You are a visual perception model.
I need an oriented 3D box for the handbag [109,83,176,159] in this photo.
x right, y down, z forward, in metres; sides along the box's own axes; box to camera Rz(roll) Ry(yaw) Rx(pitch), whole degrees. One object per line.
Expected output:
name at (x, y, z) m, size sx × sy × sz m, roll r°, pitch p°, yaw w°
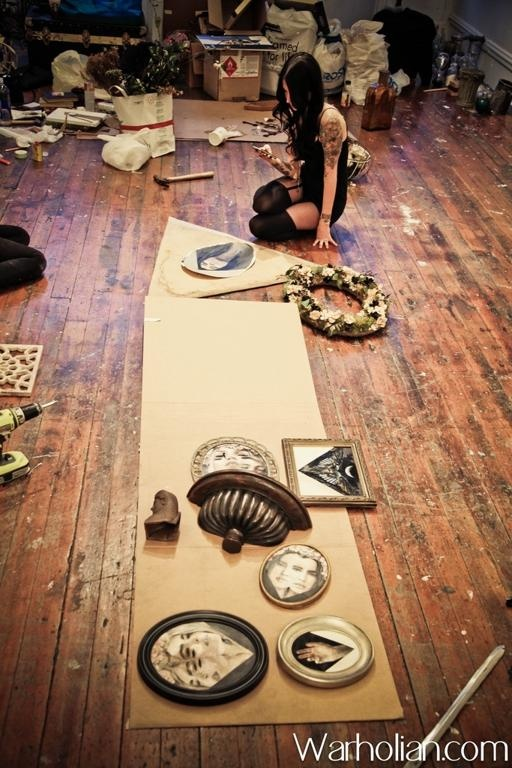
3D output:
handbag at (-0.862, -2.115, 3.890) m, size 0.515 × 0.679 × 0.524 m, roll -2°, pitch 67°, yaw -2°

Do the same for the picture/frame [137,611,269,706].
picture/frame at (-0.125, 0.630, 1.111) m, size 0.299 × 0.037 × 0.204 m, roll 5°, pitch 37°, yaw 1°

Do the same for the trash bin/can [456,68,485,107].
trash bin/can at (2.338, -3.261, 5.294) m, size 0.238 × 0.365 × 0.194 m, roll 14°, pitch 37°, yaw 14°

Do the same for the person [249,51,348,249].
person at (0.273, -1.347, 2.845) m, size 0.587 × 1.023 × 0.537 m, roll 7°, pitch 36°, yaw 6°

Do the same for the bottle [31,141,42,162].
bottle at (-1.735, -1.823, 3.766) m, size 0.064 × 0.180 × 0.117 m, roll -7°, pitch 64°, yaw -21°

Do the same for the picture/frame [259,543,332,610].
picture/frame at (0.107, 0.551, 1.352) m, size 0.198 × 0.047 × 0.213 m, roll -4°, pitch 28°, yaw 9°

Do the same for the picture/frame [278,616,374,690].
picture/frame at (0.166, 0.655, 1.158) m, size 0.221 × 0.042 × 0.226 m, roll -4°, pitch 10°, yaw -3°

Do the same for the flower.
flower at (0.425, -0.462, 2.579) m, size 0.490 × 0.176 × 0.604 m, roll -12°, pitch 40°, yaw -21°

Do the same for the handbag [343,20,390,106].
handbag at (1.169, -3.461, 5.171) m, size 0.499 × 0.741 × 0.887 m, roll 7°, pitch 37°, yaw 5°

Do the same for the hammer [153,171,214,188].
hammer at (-0.551, -1.572, 3.669) m, size 0.397 × 0.061 × 0.184 m, roll -9°, pitch 30°, yaw -8°

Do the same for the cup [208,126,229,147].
cup at (-0.317, -2.178, 4.224) m, size 0.223 × 0.136 × 0.178 m, roll -17°, pitch 41°, yaw -25°
